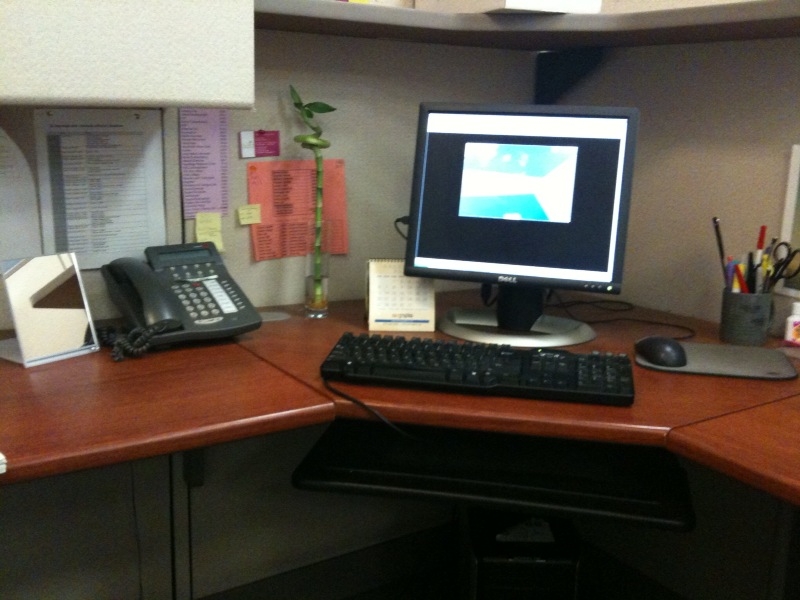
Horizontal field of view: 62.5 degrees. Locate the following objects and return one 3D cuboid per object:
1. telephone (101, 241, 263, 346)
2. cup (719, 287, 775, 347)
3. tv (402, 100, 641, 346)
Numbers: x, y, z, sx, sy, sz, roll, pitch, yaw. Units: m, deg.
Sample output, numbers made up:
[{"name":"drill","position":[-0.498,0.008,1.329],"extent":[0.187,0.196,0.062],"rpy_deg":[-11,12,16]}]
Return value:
[{"name":"telephone","position":[-0.458,-0.066,1.359],"extent":[0.240,0.109,0.290],"rpy_deg":[-13,36,-32]},{"name":"cup","position":[0.724,0.038,1.434],"extent":[0.142,0.101,0.096],"rpy_deg":[2,0,7]},{"name":"tv","position":[0.263,-0.169,1.441],"extent":[0.660,0.506,0.329],"rpy_deg":[5,14,15]}]
